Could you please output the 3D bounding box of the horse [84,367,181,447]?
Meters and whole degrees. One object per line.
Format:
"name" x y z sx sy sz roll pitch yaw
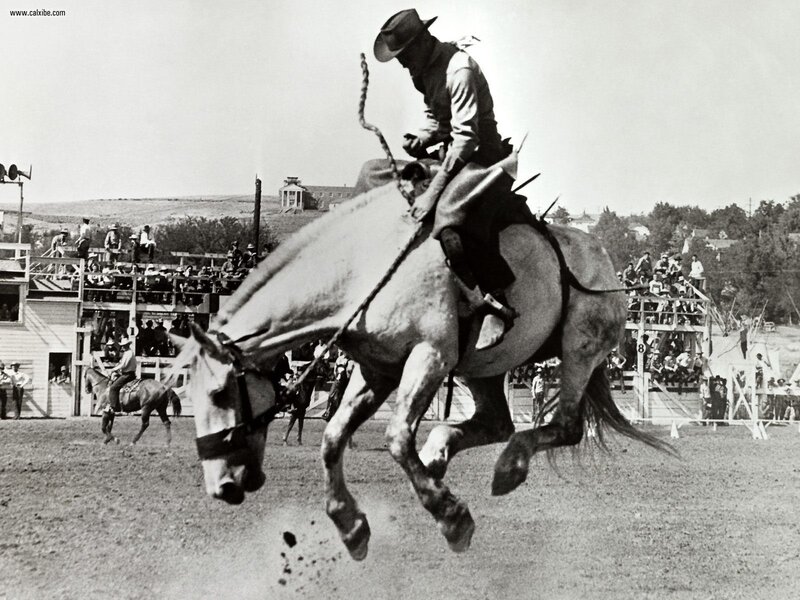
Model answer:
"horse" -6.176 2.425 19.022 2.334 1.732 0.720 1 -4 11

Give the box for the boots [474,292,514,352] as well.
"boots" 0.781 0.211 7.293 0.470 0.356 0.169 -34 0 -32

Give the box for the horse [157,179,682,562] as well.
"horse" 0.083 0.597 7.565 4.017 3.344 1.171 1 -2 -28
